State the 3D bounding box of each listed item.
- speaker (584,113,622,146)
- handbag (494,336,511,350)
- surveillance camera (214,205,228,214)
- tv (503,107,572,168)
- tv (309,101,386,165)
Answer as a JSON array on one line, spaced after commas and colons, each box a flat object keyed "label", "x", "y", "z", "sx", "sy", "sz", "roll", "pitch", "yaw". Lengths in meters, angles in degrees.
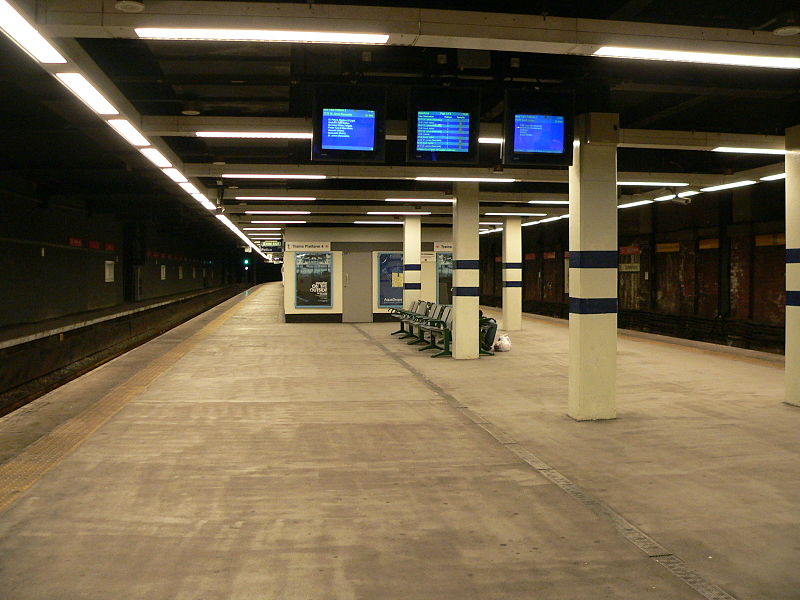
[{"label": "speaker", "x": 2.686, "y": -2.287, "z": 8.458, "sx": 0.450, "sy": 0.377, "sz": 0.231, "roll": 0, "pitch": -4, "yaw": -9}, {"label": "handbag", "x": 2.292, "y": 0.971, "z": 14.162, "sx": 0.332, "sy": 0.314, "sz": 0.390, "roll": 1, "pitch": 6, "yaw": 8}, {"label": "surveillance camera", "x": -4.532, "y": -2.301, "z": 16.081, "sx": 0.294, "sy": 0.200, "sz": 0.523, "roll": 1, "pitch": 5, "yaw": -4}, {"label": "tv", "x": 1.818, "y": -2.109, "z": 8.658, "sx": 1.229, "sy": 0.876, "sz": 0.616, "roll": 1, "pitch": 2, "yaw": -7}, {"label": "tv", "x": -0.699, "y": -2.219, "z": 8.630, "sx": 1.209, "sy": 0.824, "sz": 0.618, "roll": 1, "pitch": 2, "yaw": -3}]
